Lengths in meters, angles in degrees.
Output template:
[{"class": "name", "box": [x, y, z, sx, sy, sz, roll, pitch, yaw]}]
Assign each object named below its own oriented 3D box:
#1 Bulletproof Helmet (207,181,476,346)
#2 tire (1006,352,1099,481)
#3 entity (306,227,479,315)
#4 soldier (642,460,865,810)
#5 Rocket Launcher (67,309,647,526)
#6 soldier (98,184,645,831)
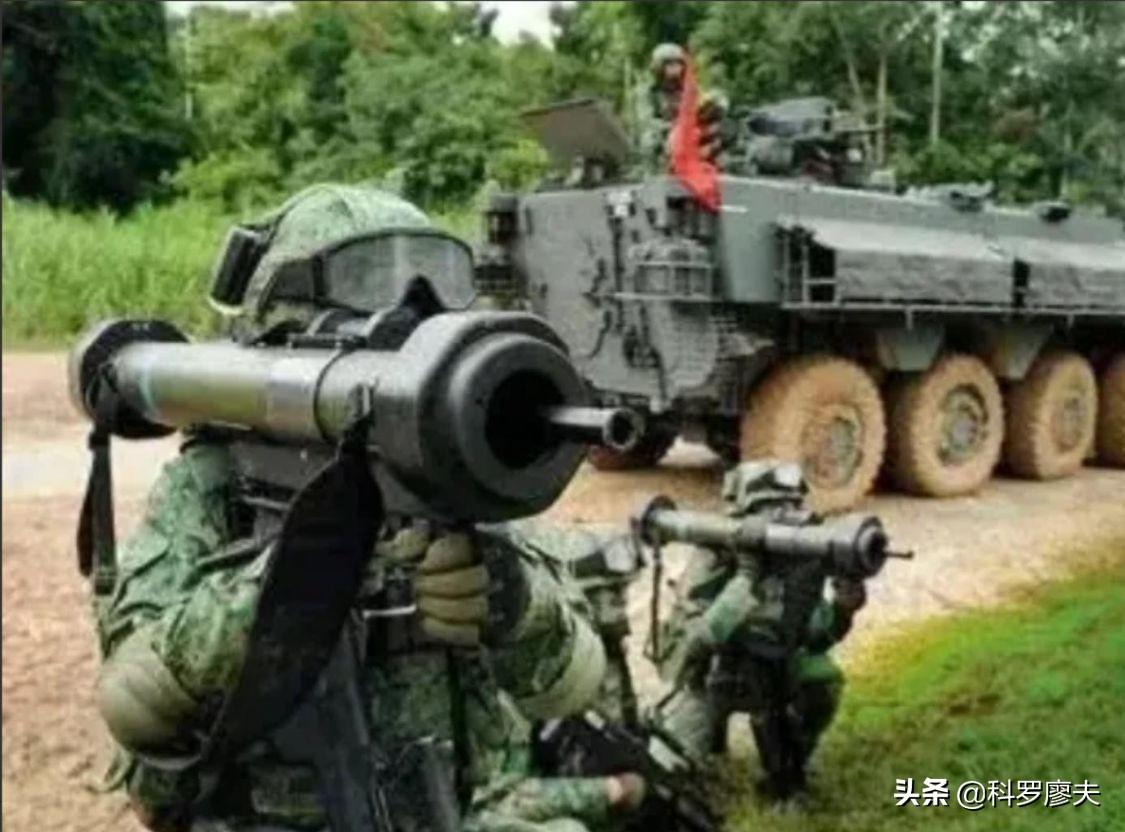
[{"class": "Bulletproof Helmet", "box": [-0.765, -0.539, 4.896, 0.740, 0.491, 0.577, 5, -1, -18]}, {"class": "tire", "box": [2.502, 0.009, 7.105, 0.436, 0.617, 1.896, 3, 8, 18]}, {"class": "entity", "box": [-0.613, -0.498, 5.175, 0.774, 0.336, 0.820, -5, 3, -30]}, {"class": "soldier", "box": [0.718, 0.932, 5.413, 0.828, 1.492, 0.936, 2, 10, -1]}, {"class": "Rocket Launcher", "box": [-0.866, -0.085, 4.533, 2.559, 0.824, 0.629, 7, 1, 44]}, {"class": "soldier", "box": [-0.759, 0.201, 4.303, 1.371, 0.964, 2.116, -1, 0, -42]}]
